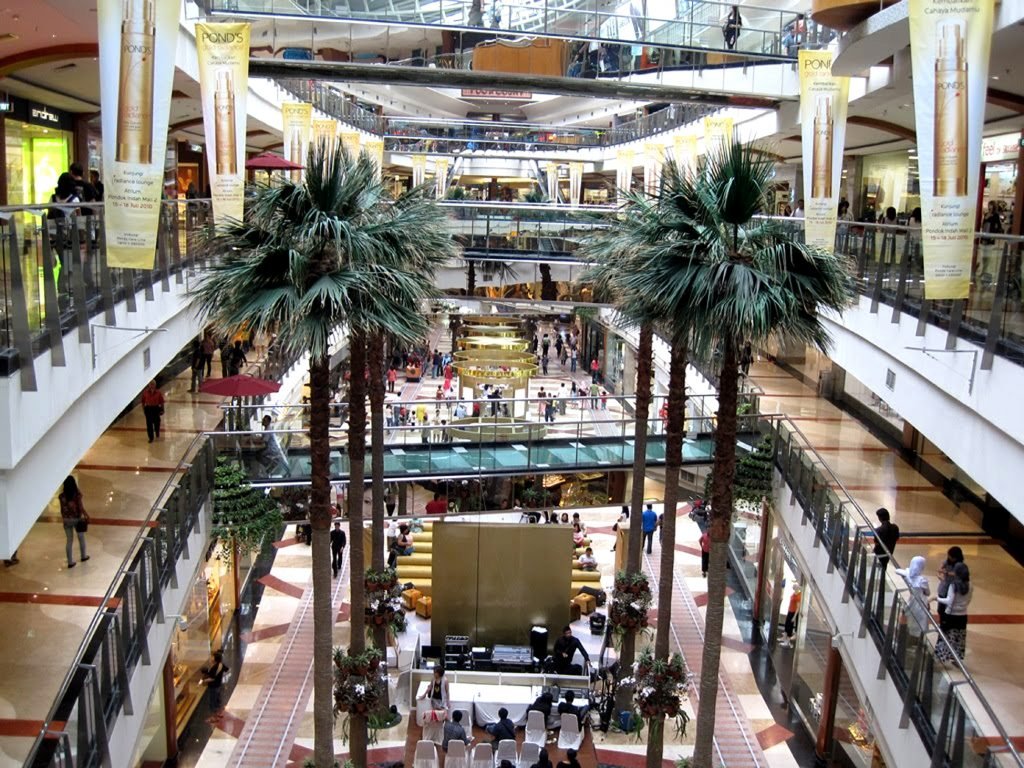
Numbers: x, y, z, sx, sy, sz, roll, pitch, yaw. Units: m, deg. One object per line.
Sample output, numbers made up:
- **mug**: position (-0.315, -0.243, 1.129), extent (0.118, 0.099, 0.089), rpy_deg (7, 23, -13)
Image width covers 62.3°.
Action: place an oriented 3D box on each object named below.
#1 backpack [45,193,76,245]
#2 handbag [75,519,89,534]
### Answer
- **backpack**: position (-4.457, -1.593, 8.366), extent (0.221, 0.461, 0.618), rpy_deg (-1, 8, -28)
- **handbag**: position (-5.442, 1.808, 10.730), extent (0.159, 0.130, 0.162), rpy_deg (3, -1, -25)
